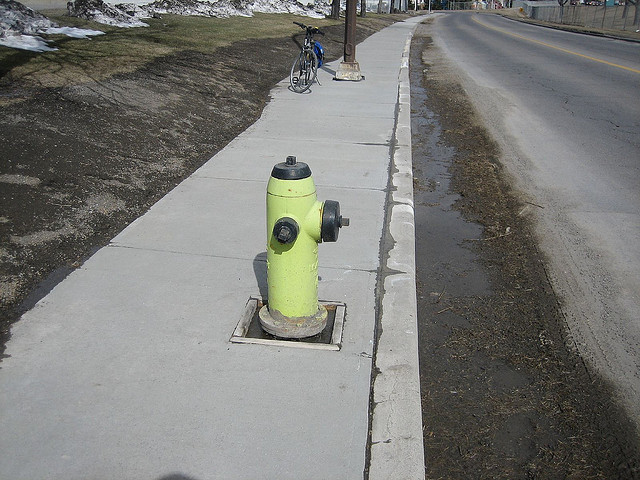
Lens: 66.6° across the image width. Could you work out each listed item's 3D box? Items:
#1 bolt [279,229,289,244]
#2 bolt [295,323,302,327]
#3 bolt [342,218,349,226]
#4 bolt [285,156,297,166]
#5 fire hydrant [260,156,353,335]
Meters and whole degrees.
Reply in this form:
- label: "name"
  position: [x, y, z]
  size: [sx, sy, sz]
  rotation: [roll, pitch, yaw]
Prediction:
- label: "bolt"
  position: [-0.242, -0.027, 3.340]
  size: [0.062, 0.095, 0.055]
  rotation: [14, 46, 2]
- label: "bolt"
  position: [-0.159, 0.643, 3.685]
  size: [0.028, 0.012, 0.034]
  rotation: [3, 7, 9]
- label: "bolt"
  position: [0.192, -0.130, 3.544]
  size: [0.047, 0.051, 0.083]
  rotation: [7, 19, 18]
- label: "bolt"
  position: [-0.198, -0.552, 3.384]
  size: [0.071, 0.060, 0.064]
  rotation: [3, 29, 2]
- label: "fire hydrant"
  position: [-0.186, 0.015, 3.710]
  size: [0.681, 1.275, 0.548]
  rotation: [-3, 16, -17]
